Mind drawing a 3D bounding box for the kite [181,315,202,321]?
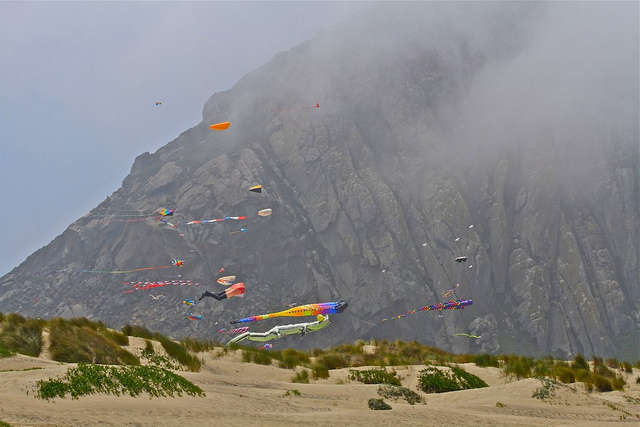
[{"bbox_3d":[-22.046,18.577,154.587,2.170,0.813,1.561,-6,13,19],"label":"kite"}]

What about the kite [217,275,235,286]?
[{"bbox_3d":[-16.394,12.030,155.712,1.944,0.769,2.423,1,3,34],"label":"kite"}]

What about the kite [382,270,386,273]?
[{"bbox_3d":[11.814,10.700,160.438,0.462,0.485,0.074,-4,-27,10],"label":"kite"}]

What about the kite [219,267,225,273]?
[{"bbox_3d":[-17.564,10.554,160.157,0.243,0.608,0.600,32,-31,47],"label":"kite"}]

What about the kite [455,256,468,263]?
[{"bbox_3d":[23.372,7.681,144.826,1.471,1.299,4.018,19,0,16],"label":"kite"}]

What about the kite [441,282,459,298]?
[{"bbox_3d":[23.439,14.153,158.386,0.954,2.758,1.873,40,5,-31],"label":"kite"}]

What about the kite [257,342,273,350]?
[{"bbox_3d":[-8.890,23.140,151.371,1.490,1.128,0.587,-17,-73,19],"label":"kite"}]
